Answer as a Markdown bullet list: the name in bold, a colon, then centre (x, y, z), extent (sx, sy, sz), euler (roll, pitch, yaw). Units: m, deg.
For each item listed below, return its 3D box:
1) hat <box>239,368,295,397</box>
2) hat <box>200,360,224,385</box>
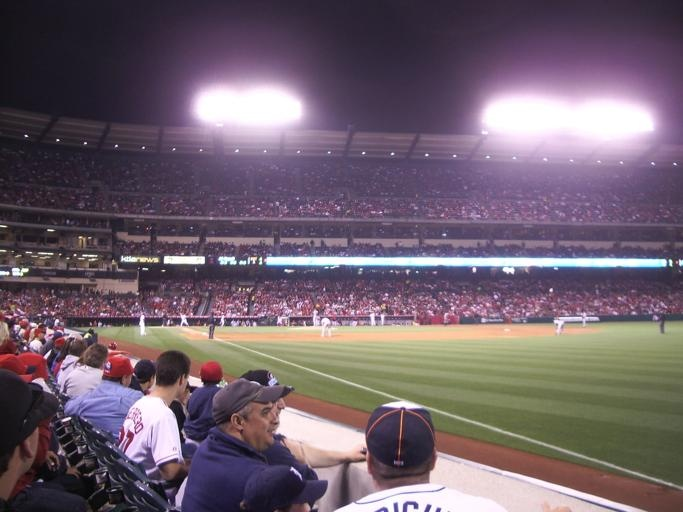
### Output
- **hat**: centre (-1.750, 2.927, 13.925), extent (1.029, 0.628, 0.663), euler (-5, -7, -7)
- **hat**: centre (-3.340, 2.911, 14.958), extent (0.594, 0.525, 0.438), euler (13, 11, 42)
